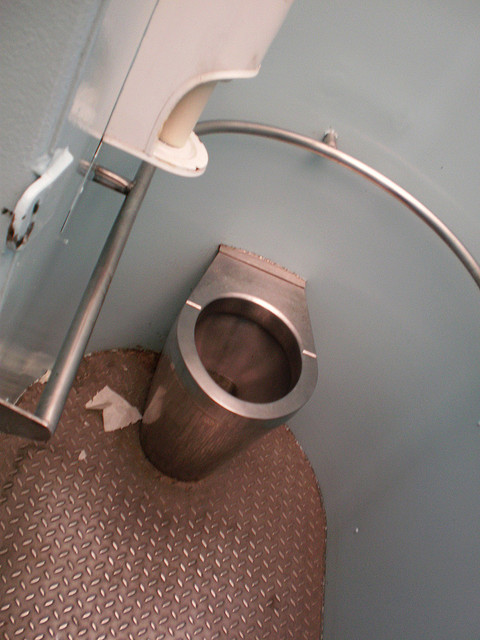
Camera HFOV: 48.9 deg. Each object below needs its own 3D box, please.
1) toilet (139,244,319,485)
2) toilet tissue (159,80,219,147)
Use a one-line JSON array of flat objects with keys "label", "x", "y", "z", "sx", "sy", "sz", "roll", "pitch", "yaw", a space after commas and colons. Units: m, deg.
[{"label": "toilet", "x": -0.033, "y": 0.091, "z": 1.355, "sx": 0.224, "sy": 0.399, "sz": 0.426, "roll": 22, "pitch": 54, "yaw": -8}, {"label": "toilet tissue", "x": -0.072, "y": -0.281, "z": 0.710, "sx": 0.046, "sy": 0.112, "sz": 0.056, "roll": 15, "pitch": 29, "yaw": -27}]
